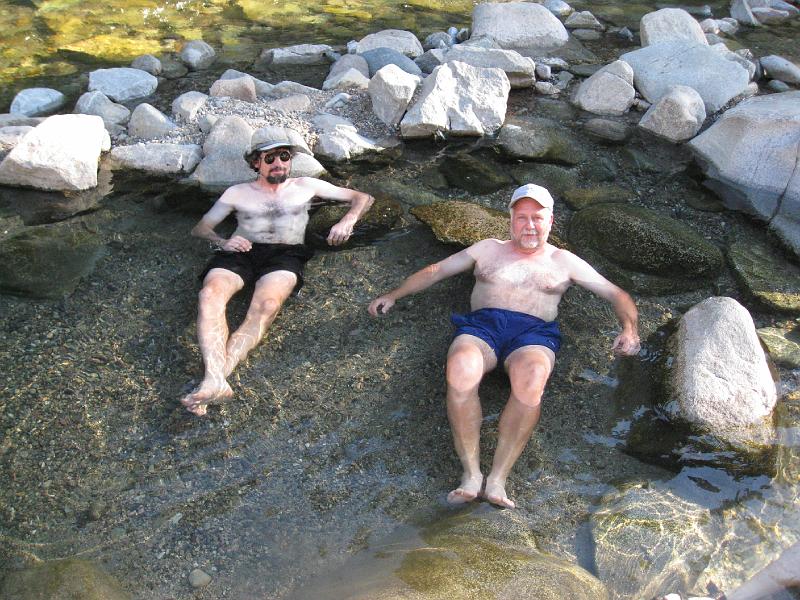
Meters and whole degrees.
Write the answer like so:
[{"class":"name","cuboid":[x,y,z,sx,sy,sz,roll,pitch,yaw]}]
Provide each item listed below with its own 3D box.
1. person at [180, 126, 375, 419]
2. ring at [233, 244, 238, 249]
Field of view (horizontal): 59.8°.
[{"class":"person","cuboid":[-1.446,-0.768,7.319,1.548,2.380,0.821,-15,69,-14]},{"class":"ring","cuboid":[-1.487,-0.481,6.207,0.034,0.012,0.037,-1,31,0]}]
